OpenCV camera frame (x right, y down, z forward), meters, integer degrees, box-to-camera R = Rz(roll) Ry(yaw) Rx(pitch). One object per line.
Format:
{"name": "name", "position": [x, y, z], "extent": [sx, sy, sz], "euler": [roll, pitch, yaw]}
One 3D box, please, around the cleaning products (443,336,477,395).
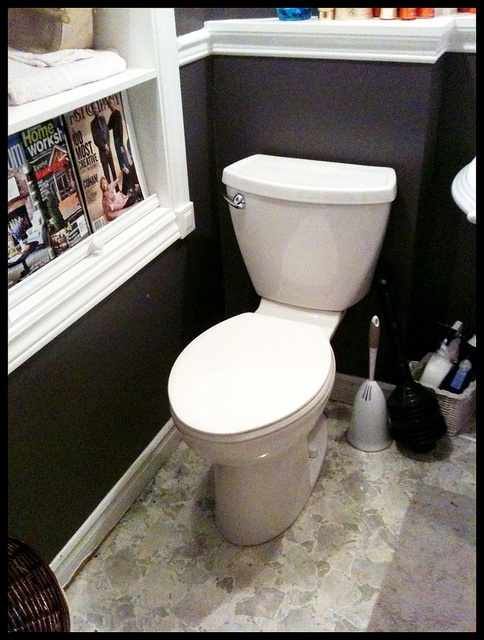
{"name": "cleaning products", "position": [0.621, 0.134, 1.383], "extent": [0.113, 0.126, 0.057], "euler": [-21, 36, -30]}

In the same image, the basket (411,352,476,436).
{"name": "basket", "position": [0.613, 0.199, 1.499], "extent": [0.169, 0.152, 0.241], "euler": [13, 36, 24]}

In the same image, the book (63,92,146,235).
{"name": "book", "position": [-0.304, -0.342, 1.071], "extent": [0.010, 0.255, 0.228], "euler": [5, 49, 19]}

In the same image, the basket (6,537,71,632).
{"name": "basket", "position": [-0.315, 0.402, 0.740], "extent": [0.081, 0.107, 0.125], "euler": [-15, 36, -23]}

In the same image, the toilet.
{"name": "toilet", "position": [0.094, 0.096, 1.253], "extent": [0.401, 0.817, 0.723], "euler": [10, 30, 21]}
